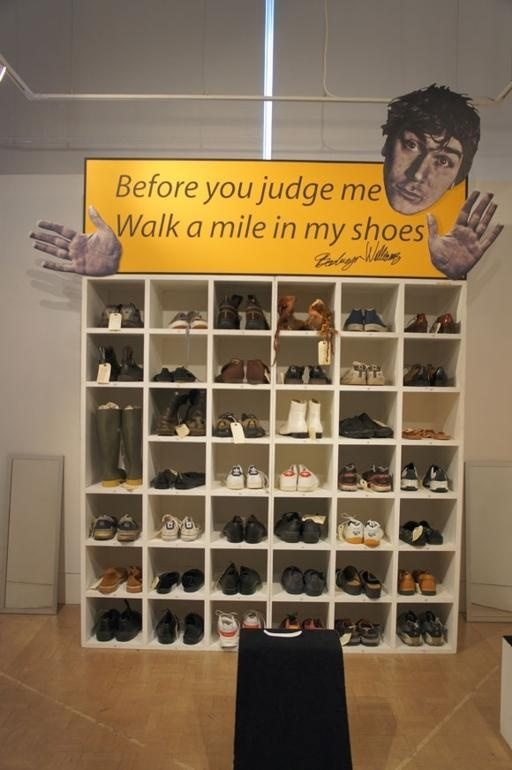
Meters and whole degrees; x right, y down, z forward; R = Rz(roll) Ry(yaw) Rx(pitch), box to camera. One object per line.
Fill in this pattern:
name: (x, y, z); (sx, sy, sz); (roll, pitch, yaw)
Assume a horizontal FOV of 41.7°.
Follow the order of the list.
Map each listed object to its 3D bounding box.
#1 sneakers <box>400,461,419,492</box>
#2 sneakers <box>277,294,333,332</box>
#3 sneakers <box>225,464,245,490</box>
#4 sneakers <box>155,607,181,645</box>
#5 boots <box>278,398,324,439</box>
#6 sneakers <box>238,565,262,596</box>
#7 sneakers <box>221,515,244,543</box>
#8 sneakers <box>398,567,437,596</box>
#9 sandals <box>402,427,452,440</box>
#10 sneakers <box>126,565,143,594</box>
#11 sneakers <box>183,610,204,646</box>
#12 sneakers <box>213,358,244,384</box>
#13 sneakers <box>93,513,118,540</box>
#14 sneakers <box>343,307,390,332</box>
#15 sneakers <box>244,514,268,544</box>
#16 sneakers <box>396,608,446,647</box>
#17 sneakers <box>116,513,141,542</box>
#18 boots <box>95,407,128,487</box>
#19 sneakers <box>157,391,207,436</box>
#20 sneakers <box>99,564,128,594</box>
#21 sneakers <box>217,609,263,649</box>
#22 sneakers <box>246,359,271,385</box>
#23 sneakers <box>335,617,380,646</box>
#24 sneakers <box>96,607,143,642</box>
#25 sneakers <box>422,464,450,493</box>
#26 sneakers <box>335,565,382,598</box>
sneakers: (0.784, 0.487, 3.477); (0.092, 0.134, 0.108); (3, 14, 11)
sneakers: (0.255, -0.365, 3.520); (0.341, 0.220, 0.142); (3, 6, 7)
sneakers: (-0.115, 0.486, 3.522); (0.104, 0.127, 0.142); (0, 14, -2)
sneakers: (-0.465, 1.252, 3.452); (0.069, 0.090, 0.196); (1, 5, -3)
boots: (0.248, 0.172, 3.519); (0.149, 0.142, 0.242); (1, 0, -6)
sneakers: (-0.031, 1.017, 3.483); (0.132, 0.118, 0.126); (-2, 15, -10)
sneakers: (-0.111, 0.754, 3.527); (0.111, 0.096, 0.190); (5, 15, 16)
sneakers: (0.819, 1.021, 3.526); (0.117, 0.057, 0.157); (1, 0, 3)
sandals: (0.882, 0.257, 3.551); (0.247, 0.040, 0.249); (3, 15, 9)
sneakers: (-0.632, 1.014, 3.471); (0.056, 0.064, 0.161); (1, 5, -6)
sneakers: (-0.331, 1.253, 3.462); (0.069, 0.082, 0.173); (0, 2, -1)
sneakers: (-0.139, -0.076, 3.497); (0.154, 0.111, 0.154); (0, 15, -2)
sneakers: (-0.785, 0.742, 3.463); (0.060, 0.080, 0.183); (1, 2, -4)
sneakers: (0.567, -0.335, 3.502); (0.226, 0.118, 0.190); (4, 15, 11)
sneakers: (-0.007, 0.758, 3.504); (0.115, 0.109, 0.139); (1, 14, 0)
sneakers: (0.842, 1.264, 3.505); (0.141, 0.089, 0.206); (0, -1, 3)
sneakers: (-0.664, 0.747, 3.468); (0.070, 0.075, 0.171); (1, 3, -4)
boots: (-0.751, 0.312, 3.484); (0.139, 0.416, 0.128); (-3, 14, -14)
sneakers: (-0.399, 0.144, 3.529); (0.268, 0.226, 0.231); (-1, 14, -8)
sneakers: (-0.759, 1.009, 3.529); (0.139, 0.115, 0.233); (0, 15, -4)
sneakers: (-0.099, 1.242, 3.410); (0.135, 0.171, 0.385); (0, 0, 3)
sneakers: (0.006, -0.068, 3.449); (0.122, 0.110, 0.083); (-1, 14, -5)
sneakers: (0.516, 1.274, 3.536); (0.178, 0.093, 0.246); (0, -2, 1)
sneakers: (-0.709, 1.243, 3.495); (0.124, 0.082, 0.219); (1, 0, -1)
sneakers: (0.933, 0.499, 3.525); (0.101, 0.136, 0.178); (1, 14, 3)
sneakers: (0.527, 1.031, 3.513); (0.246, 0.099, 0.208); (4, 15, 12)
